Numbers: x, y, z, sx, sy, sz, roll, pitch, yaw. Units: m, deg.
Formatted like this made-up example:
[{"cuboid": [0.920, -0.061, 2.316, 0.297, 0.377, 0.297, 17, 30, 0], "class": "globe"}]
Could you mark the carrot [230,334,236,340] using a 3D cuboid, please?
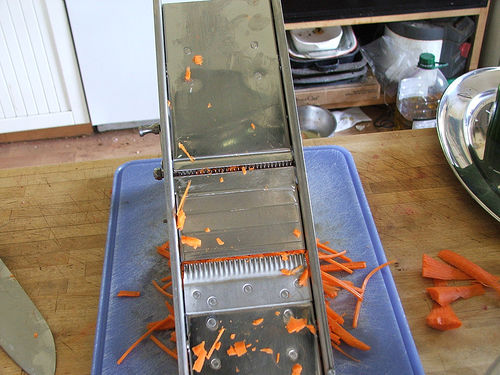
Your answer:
[{"cuboid": [-0.039, 0.320, 0.954, 0.010, 0.011, 0.002, -1, -6, -1], "class": "carrot"}]

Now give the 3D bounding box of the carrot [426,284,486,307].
[{"cuboid": [0.545, 0.277, 1.175, 0.098, 0.029, 0.069, -12, 64, -13], "class": "carrot"}]

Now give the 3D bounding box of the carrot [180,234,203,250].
[{"cuboid": [-0.131, 0.123, 0.999, 0.041, 0.029, 0.014, 18, -5, 1], "class": "carrot"}]

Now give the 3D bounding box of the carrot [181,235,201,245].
[{"cuboid": [-0.135, 0.120, 0.998, 0.035, 0.022, 0.012, 11, -5, 1], "class": "carrot"}]

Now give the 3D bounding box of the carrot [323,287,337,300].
[{"cuboid": [0.206, 0.276, 1.165, 0.011, 0.022, 0.039, 10, 31, -34], "class": "carrot"}]

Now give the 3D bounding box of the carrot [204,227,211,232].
[{"cuboid": [-0.096, 0.097, 1.009, 0.013, 0.008, 0.007, -4, 31, 1], "class": "carrot"}]

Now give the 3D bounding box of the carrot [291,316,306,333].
[{"cuboid": [0.103, 0.292, 0.955, 0.028, 0.023, 0.019, -3, 31, 3], "class": "carrot"}]

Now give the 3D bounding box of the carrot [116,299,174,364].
[{"cuboid": [-0.237, 0.367, 1.156, 0.209, 0.029, 0.082, -42, 35, -15], "class": "carrot"}]

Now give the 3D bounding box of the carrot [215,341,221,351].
[{"cuboid": [-0.069, 0.338, 0.947, 0.008, 0.015, 0.005, 27, -9, -9], "class": "carrot"}]

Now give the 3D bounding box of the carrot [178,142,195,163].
[{"cuboid": [-0.150, -0.083, 1.037, 0.018, 0.072, 0.008, -32, -4, 0], "class": "carrot"}]

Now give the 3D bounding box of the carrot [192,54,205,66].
[{"cuboid": [-0.126, -0.306, 1.071, 0.022, 0.011, 0.021, 41, 73, -5], "class": "carrot"}]

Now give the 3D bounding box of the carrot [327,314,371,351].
[{"cuboid": [0.248, 0.391, 1.119, 0.037, 0.191, 0.056, -23, 46, 37], "class": "carrot"}]

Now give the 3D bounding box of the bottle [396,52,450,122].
[{"cuboid": [0.794, -0.420, 2.103, 0.191, 0.222, 0.252, -4, 8, 14], "class": "bottle"}]

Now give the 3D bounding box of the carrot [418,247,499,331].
[{"cuboid": [0.525, 0.271, 1.182, 0.169, 0.066, 0.182, 25, 59, 13], "class": "carrot"}]

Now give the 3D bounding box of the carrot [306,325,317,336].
[{"cuboid": [0.129, 0.304, 0.944, 0.005, 0.012, 0.019, -7, 52, -10], "class": "carrot"}]

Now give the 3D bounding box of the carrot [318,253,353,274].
[{"cuboid": [0.229, 0.209, 1.216, 0.105, 0.019, 0.022, 34, 66, 23], "class": "carrot"}]

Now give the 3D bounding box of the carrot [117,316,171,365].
[{"cuboid": [-0.267, 0.393, 1.128, 0.174, 0.031, 0.018, -35, 24, -23], "class": "carrot"}]

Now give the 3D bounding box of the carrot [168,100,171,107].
[{"cuboid": [-0.190, -0.197, 1.045, 0.005, 0.006, 0.007, -3, 66, -24], "class": "carrot"}]

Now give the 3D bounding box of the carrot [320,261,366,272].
[{"cuboid": [0.252, 0.219, 1.221, 0.126, 0.025, 0.037, -1, 25, -3], "class": "carrot"}]

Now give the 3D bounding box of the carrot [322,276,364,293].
[{"cuboid": [0.243, 0.259, 1.181, 0.086, 0.012, 0.015, 36, 86, 15], "class": "carrot"}]

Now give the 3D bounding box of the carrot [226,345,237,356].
[{"cuboid": [-0.041, 0.350, 0.949, 0.020, 0.016, 0.012, -9, 31, -7], "class": "carrot"}]

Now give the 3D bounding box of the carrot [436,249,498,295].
[{"cuboid": [0.583, 0.217, 1.261, 0.202, 0.035, 0.053, 36, 66, 29], "class": "carrot"}]

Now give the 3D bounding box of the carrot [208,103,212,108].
[{"cuboid": [-0.097, -0.194, 1.059, 0.014, 0.011, 0.004, -6, -3, -11], "class": "carrot"}]

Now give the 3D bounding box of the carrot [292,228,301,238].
[{"cuboid": [0.104, 0.103, 1.006, 0.014, 0.005, 0.014, -44, 80, 0], "class": "carrot"}]

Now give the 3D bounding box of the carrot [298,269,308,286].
[{"cuboid": [0.115, 0.195, 0.972, 0.015, 0.009, 0.031, 30, 75, -5], "class": "carrot"}]

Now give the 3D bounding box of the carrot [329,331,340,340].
[{"cuboid": [0.204, 0.366, 1.096, 0.033, 0.011, 0.010, 35, 69, 7], "class": "carrot"}]

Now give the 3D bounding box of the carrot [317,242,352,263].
[{"cuboid": [0.232, 0.183, 1.242, 0.098, 0.020, 0.014, 31, 87, 17], "class": "carrot"}]

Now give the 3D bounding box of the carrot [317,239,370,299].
[{"cuboid": [0.232, 0.231, 1.211, 0.139, 0.044, 0.140, 17, 65, -18], "class": "carrot"}]

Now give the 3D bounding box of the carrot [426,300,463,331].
[{"cuboid": [0.498, 0.329, 1.162, 0.080, 0.041, 0.102, 1, 25, 28], "class": "carrot"}]

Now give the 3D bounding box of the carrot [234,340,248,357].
[{"cuboid": [-0.021, 0.342, 0.950, 0.022, 0.029, 0.021, -2, 0, 21], "class": "carrot"}]

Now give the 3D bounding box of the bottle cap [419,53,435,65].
[{"cuboid": [0.678, -0.497, 1.725, 0.046, 0.028, 0.050, 7, 47, 25], "class": "bottle cap"}]

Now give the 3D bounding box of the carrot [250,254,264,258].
[{"cuboid": [0.015, 0.155, 1.000, 0.028, 0.006, 0.006, -2, 32, 3], "class": "carrot"}]

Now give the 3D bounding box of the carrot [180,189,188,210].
[{"cuboid": [-0.152, 0.030, 1.020, 0.006, 0.048, 0.006, 21, -10, -14], "class": "carrot"}]
